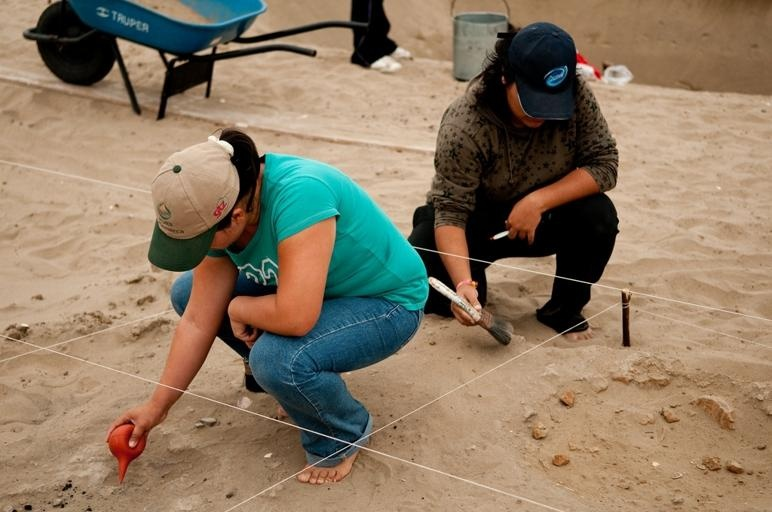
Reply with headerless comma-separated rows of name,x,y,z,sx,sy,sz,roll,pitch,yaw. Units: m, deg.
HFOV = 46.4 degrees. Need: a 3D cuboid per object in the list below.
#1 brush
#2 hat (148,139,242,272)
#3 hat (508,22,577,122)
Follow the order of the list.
brush,0.472,0.335,5.668,0.424,0.468,0.457,0,1,-43
hat,-1.039,-0.288,4.823,0.468,0.324,0.711,22,80,21
hat,0.957,-1.123,5.603,0.421,0.312,0.586,-5,72,-10
